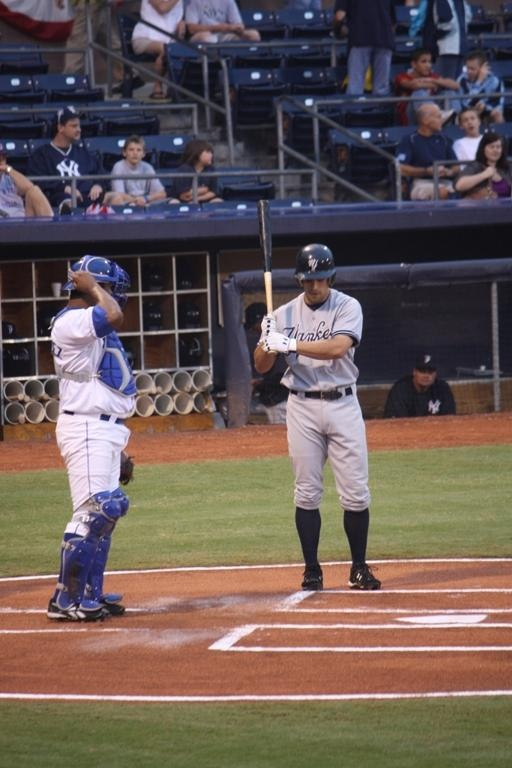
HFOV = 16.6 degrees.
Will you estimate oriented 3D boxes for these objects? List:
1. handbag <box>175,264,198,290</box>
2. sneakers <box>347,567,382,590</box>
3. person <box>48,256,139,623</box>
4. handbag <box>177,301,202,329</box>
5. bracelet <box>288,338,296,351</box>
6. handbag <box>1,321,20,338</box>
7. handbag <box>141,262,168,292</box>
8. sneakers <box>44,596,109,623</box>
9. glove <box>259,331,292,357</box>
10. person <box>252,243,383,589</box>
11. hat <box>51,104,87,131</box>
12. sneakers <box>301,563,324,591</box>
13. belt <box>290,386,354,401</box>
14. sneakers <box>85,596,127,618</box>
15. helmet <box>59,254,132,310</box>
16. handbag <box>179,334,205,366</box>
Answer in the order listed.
[{"bbox_3d":[-0.671,-1.038,16.911,0.222,0.331,0.176,3,-14,-16],"label":"handbag"},{"bbox_3d":[0.583,1.021,9.249,0.086,0.094,0.188,-1,-6,-23],"label":"sneakers"},{"bbox_3d":[-0.846,0.257,8.974,0.458,1.847,0.513,-1,3,-1],"label":"person"},{"bbox_3d":[-0.609,-0.676,16.832,0.190,0.274,0.267,-1,0,2],"label":"handbag"},{"bbox_3d":[0.191,-0.204,9.096,0.045,0.071,0.121,-1,2,3],"label":"bracelet"},{"bbox_3d":[-2.270,-0.490,16.165,0.056,0.184,0.116,9,31,34],"label":"handbag"},{"bbox_3d":[-0.957,-1.018,16.634,0.208,0.267,0.245,-6,-11,-20],"label":"handbag"},{"bbox_3d":[-0.908,1.141,8.908,0.303,0.160,0.112,-1,-2,2],"label":"sneakers"},{"bbox_3d":[0.123,-0.216,9.131,0.130,0.107,0.050,11,-18,13],"label":"glove"},{"bbox_3d":[0.318,0.174,9.244,0.584,1.830,0.443,1,3,31],"label":"person"},{"bbox_3d":[-1.660,-2.374,15.452,0.182,0.188,0.401,-2,2,-15],"label":"hat"},{"bbox_3d":[0.304,1.027,9.329,0.115,0.167,0.332,-1,-5,1],"label":"sneakers"},{"bbox_3d":[0.344,0.043,9.148,0.327,0.071,0.159,-1,2,2],"label":"belt"},{"bbox_3d":[-0.761,1.135,8.892,0.147,0.072,0.107,-10,5,33],"label":"sneakers"},{"bbox_3d":[-0.806,-0.532,9.047,0.296,0.217,0.245,3,0,-34],"label":"helmet"},{"bbox_3d":[-0.612,-0.345,16.639,0.216,0.290,0.271,-3,-15,-5],"label":"handbag"}]
